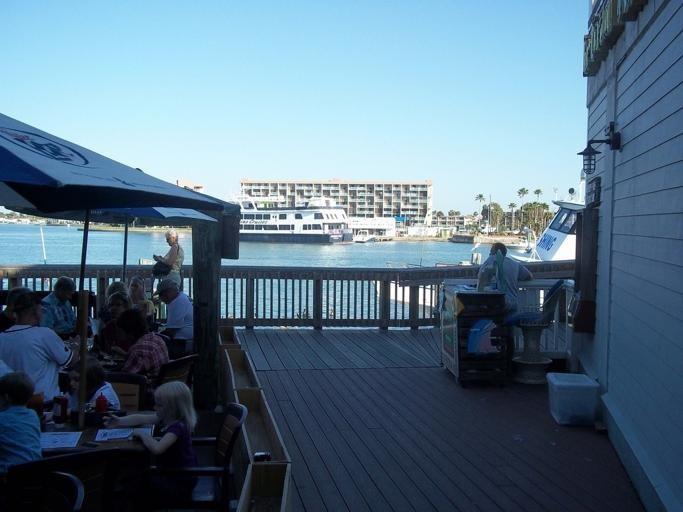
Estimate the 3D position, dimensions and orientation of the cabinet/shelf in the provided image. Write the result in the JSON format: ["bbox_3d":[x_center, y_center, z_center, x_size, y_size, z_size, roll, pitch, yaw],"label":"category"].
[{"bbox_3d":[1.902,1.086,8.245,0.924,1.381,1.317,1,1,1],"label":"cabinet/shelf"}]

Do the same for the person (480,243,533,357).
[{"bbox_3d":[2.356,0.557,8.260,0.513,1.408,0.720,0,0,-22],"label":"person"}]

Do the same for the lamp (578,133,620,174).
[{"bbox_3d":[3.431,-1.380,7.546,0.477,0.601,0.290,2,18,21],"label":"lamp"}]

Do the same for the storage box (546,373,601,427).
[{"bbox_3d":[2.818,1.736,6.860,0.528,0.518,0.686,-1,-1,10],"label":"storage box"}]

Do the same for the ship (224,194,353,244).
[{"bbox_3d":[-6.974,-5.350,85.909,15.650,7.139,8.139,0,5,-8],"label":"ship"}]

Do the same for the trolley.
[{"bbox_3d":[1.858,1.148,8.257,0.861,1.325,1.284,0,2,2],"label":"trolley"}]
